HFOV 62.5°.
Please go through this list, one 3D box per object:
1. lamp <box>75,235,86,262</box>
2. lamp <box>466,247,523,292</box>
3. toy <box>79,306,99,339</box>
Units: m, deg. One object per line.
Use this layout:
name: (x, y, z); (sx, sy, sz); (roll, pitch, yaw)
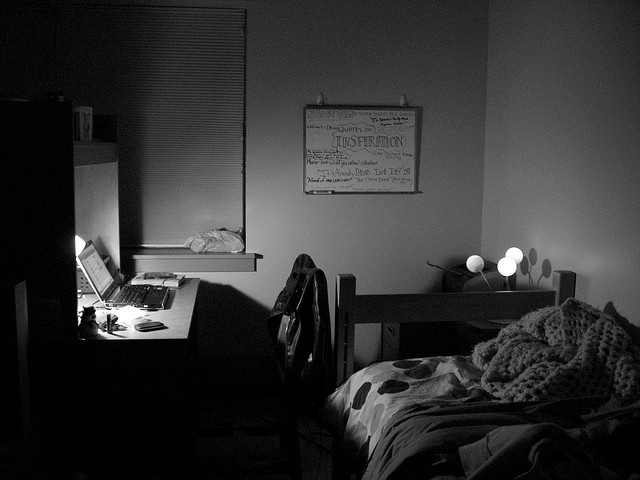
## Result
lamp: (-1.281, 0.049, 2.832); (0.029, 0.130, 0.068); (-20, -32, 31)
lamp: (1.147, 0.200, 3.441); (0.351, 0.369, 0.129); (-5, 22, 10)
toy: (-1.092, 0.386, 2.489); (0.097, 0.148, 0.101); (-1, 5, -26)
